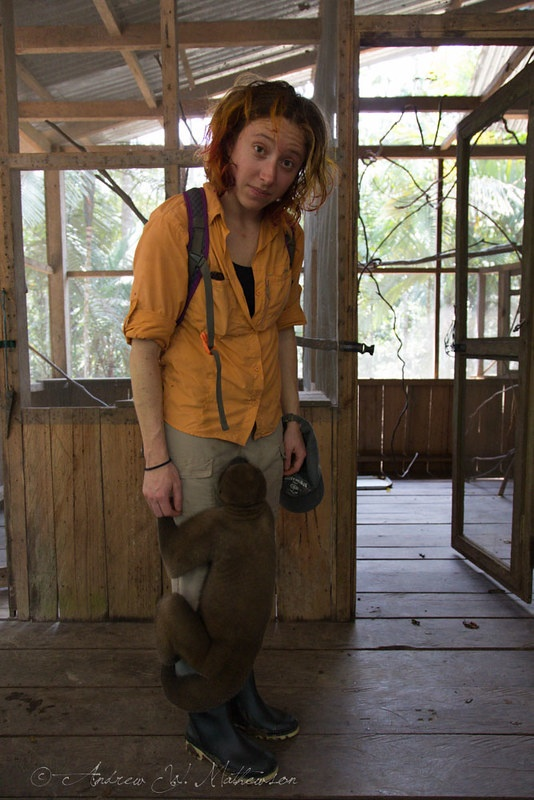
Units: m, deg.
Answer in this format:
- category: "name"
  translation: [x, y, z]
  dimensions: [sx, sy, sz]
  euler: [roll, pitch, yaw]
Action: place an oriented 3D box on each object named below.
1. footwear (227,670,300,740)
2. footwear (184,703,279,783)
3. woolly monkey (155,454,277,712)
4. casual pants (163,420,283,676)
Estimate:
- category: "footwear"
  translation: [-0.019, 0.826, 2.043]
  dimensions: [0.254, 0.220, 0.109]
  euler: [-2, 5, 1]
- category: "footwear"
  translation: [-0.093, 0.826, 1.858]
  dimensions: [0.258, 0.184, 0.105]
  euler: [11, 16, 24]
- category: "woolly monkey"
  translation: [-0.111, 0.442, 1.710]
  dimensions: [0.285, 0.584, 0.195]
  euler: [-1, 7, -11]
- category: "casual pants"
  translation: [-0.120, 0.275, 1.855]
  dimensions: [0.175, 0.733, 0.285]
  euler: [5, 1, -38]
